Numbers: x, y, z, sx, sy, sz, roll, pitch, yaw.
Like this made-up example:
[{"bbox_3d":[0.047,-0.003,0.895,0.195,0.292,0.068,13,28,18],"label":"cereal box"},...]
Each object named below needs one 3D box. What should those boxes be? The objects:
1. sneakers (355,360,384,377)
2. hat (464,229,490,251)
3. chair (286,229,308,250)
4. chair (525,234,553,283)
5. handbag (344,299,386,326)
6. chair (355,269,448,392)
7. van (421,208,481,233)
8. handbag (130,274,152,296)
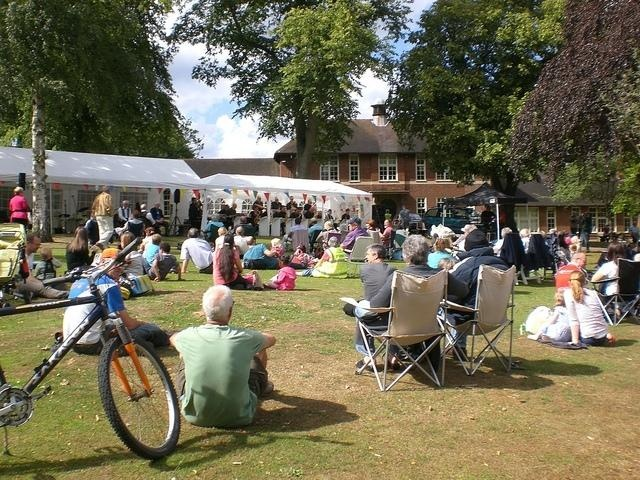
[{"bbox_3d":[0.678,1.647,8.662,0.442,0.161,0.150,3,-7,-7],"label":"sneakers"},{"bbox_3d":[3.195,0.007,13.808,0.667,0.490,0.332,-4,6,-12],"label":"hat"},{"bbox_3d":[-0.678,-0.020,20.438,0.863,0.817,0.459,0,6,-4],"label":"chair"},{"bbox_3d":[5.400,0.465,16.628,0.789,1.173,1.326,-3,2,29],"label":"chair"},{"bbox_3d":[0.579,0.930,8.404,0.427,0.146,0.403,5,-2,8],"label":"handbag"},{"bbox_3d":[1.029,1.105,8.443,1.287,1.314,1.229,0,-2,5],"label":"chair"},{"bbox_3d":[6.200,-0.983,31.709,2.555,1.088,1.339,-3,1,13],"label":"van"},{"bbox_3d":[-3.233,0.818,12.183,0.367,0.386,0.597,-7,3,-4],"label":"handbag"}]
